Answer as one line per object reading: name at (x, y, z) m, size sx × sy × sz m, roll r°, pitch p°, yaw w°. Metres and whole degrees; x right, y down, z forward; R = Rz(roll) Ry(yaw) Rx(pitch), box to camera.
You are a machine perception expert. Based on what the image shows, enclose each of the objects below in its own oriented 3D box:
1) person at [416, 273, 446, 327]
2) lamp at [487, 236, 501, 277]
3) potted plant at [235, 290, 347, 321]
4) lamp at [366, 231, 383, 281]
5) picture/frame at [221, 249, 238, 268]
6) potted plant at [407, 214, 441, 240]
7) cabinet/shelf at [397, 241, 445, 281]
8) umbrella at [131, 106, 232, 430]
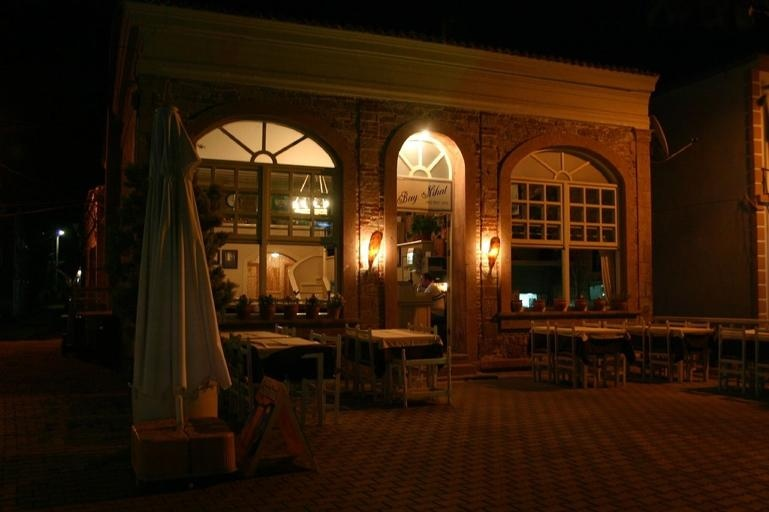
person at (1.333, 1.218, 18.540) m, size 0.708 × 1.444 × 0.773 m, roll -1°, pitch 3°, yaw -26°
lamp at (2.847, -0.021, 17.864) m, size 0.242 × 1.153 × 0.162 m, roll 6°, pitch 5°, yaw -2°
potted plant at (-2.288, 1.206, 16.336) m, size 2.592 × 0.628 × 0.692 m, roll 0°, pitch 2°, yaw -14°
lamp at (-0.245, -0.068, 16.849) m, size 0.453 × 1.118 × 0.140 m, roll -2°, pitch 3°, yaw -34°
picture/frame at (-4.321, 0.085, 18.943) m, size 0.473 × 0.543 × 0.073 m, roll -1°, pitch -13°, yaw 0°
potted plant at (1.135, -0.777, 19.700) m, size 0.752 × 0.815 × 0.748 m, roll 1°, pitch -1°, yaw 41°
cabinet/shelf at (1.091, 0.134, 19.569) m, size 0.375 × 1.011 × 1.074 m, roll 3°, pitch -6°, yaw -23°
umbrella at (-2.998, 0.158, 9.843) m, size 1.279 × 4.741 × 1.253 m, roll -1°, pitch 3°, yaw -22°
